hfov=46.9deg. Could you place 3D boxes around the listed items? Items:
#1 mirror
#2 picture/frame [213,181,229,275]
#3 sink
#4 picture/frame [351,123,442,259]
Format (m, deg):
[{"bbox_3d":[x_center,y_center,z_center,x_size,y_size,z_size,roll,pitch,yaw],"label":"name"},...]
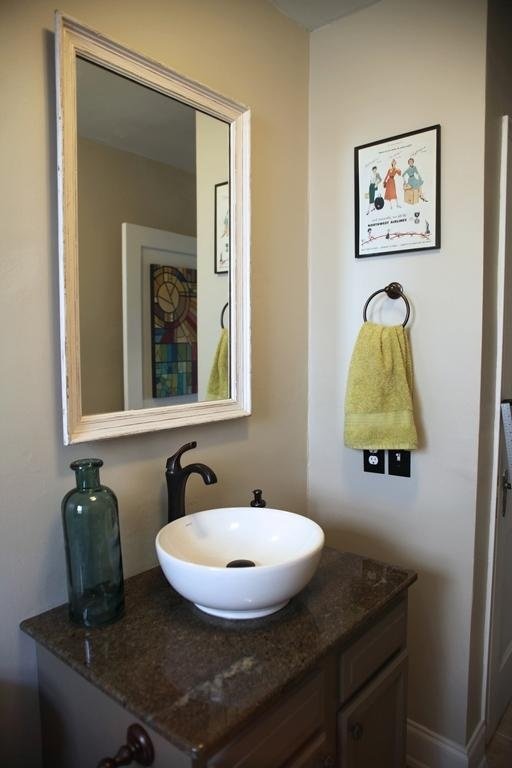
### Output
[{"bbox_3d":[-0.197,-0.296,1.349,0.039,0.802,0.590,4,6,36],"label":"mirror"},{"bbox_3d":[-0.080,-0.390,1.502,0.007,0.224,0.077,-7,14,-36],"label":"picture/frame"},{"bbox_3d":[-0.033,0.367,1.193,0.316,0.151,0.348,-2,6,-6],"label":"sink"},{"bbox_3d":[0.399,-0.534,1.628,0.016,0.508,0.355,-3,3,-39],"label":"picture/frame"}]
